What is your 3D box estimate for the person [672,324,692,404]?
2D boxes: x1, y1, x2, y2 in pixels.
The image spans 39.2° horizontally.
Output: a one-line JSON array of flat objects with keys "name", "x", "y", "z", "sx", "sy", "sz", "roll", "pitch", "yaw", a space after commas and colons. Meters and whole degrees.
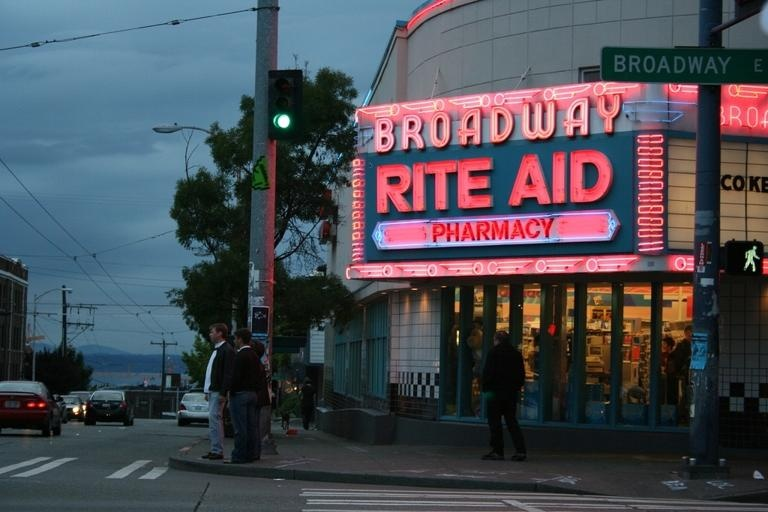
[{"name": "person", "x": 7.392, "y": 2.667, "z": 26.570, "sx": 0.423, "sy": 1.942, "sz": 0.215, "roll": -5, "pitch": -8, "yaw": 34}]

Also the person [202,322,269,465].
[{"name": "person", "x": -3.067, "y": 2.933, "z": 22.790, "sx": 1.130, "sy": 2.823, "sz": 0.905, "roll": 0, "pitch": -7, "yaw": -8}]

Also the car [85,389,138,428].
[{"name": "car", "x": -12.086, "y": 6.656, "z": 47.412, "sx": 1.871, "sy": 1.495, "sz": 1.309, "roll": 1, "pitch": -8, "yaw": -16}]

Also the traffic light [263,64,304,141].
[{"name": "traffic light", "x": -2.134, "y": -3.343, "z": 23.485, "sx": 0.730, "sy": 1.553, "sz": 0.597, "roll": 0, "pitch": -7, "yaw": -7}]

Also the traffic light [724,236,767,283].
[{"name": "traffic light", "x": 7.301, "y": 0.069, "z": 21.817, "sx": 1.115, "sy": 1.053, "sz": 0.605, "roll": 1, "pitch": -1, "yaw": -5}]

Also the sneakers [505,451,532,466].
[{"name": "sneakers", "x": 2.973, "y": 4.416, "z": 23.704, "sx": 0.198, "sy": 0.244, "sz": 0.566, "roll": 1, "pitch": 1, "yaw": -33}]
